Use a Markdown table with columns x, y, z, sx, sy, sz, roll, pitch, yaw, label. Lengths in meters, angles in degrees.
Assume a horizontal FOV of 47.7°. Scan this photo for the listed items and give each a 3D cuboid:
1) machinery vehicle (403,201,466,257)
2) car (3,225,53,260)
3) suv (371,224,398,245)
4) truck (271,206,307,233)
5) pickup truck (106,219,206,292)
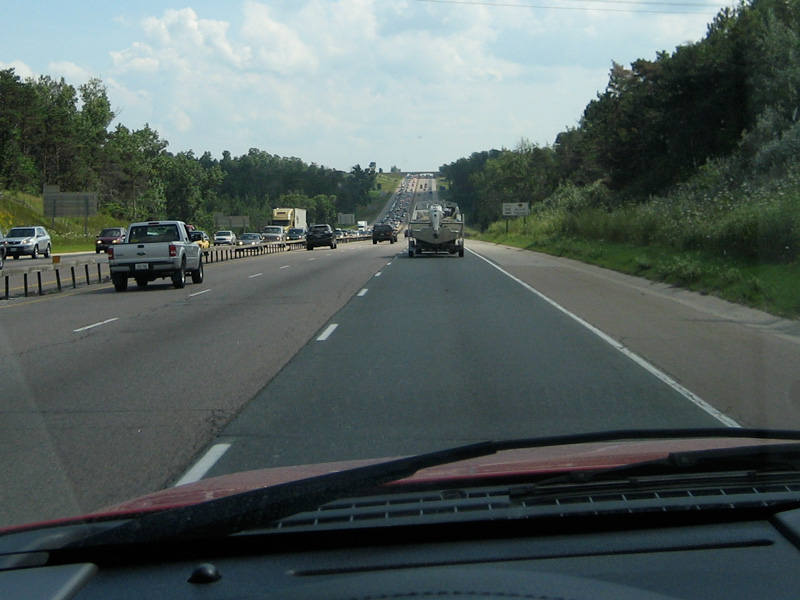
| x | y | z | sx | sy | sz | roll | pitch | yaw | label |
| --- | --- | --- | --- | --- | --- | --- | --- | --- | --- |
| 1.797 | -3.380 | 43.501 | 2.534 | 2.595 | 3.362 | 0 | 4 | 7 | machinery vehicle |
| -21.032 | -3.305 | 50.896 | 1.502 | 1.374 | 2.740 | -1 | -4 | 0 | car |
| -1.272 | -5.765 | 78.653 | 1.534 | 1.456 | 3.583 | 0 | 10 | 6 | suv |
| -12.254 | -8.744 | 97.679 | 2.306 | 3.337 | 6.435 | -1 | 1 | 6 | truck |
| -6.814 | -1.340 | 26.089 | 1.560 | 1.314 | 2.848 | 1 | 11 | 10 | pickup truck |
